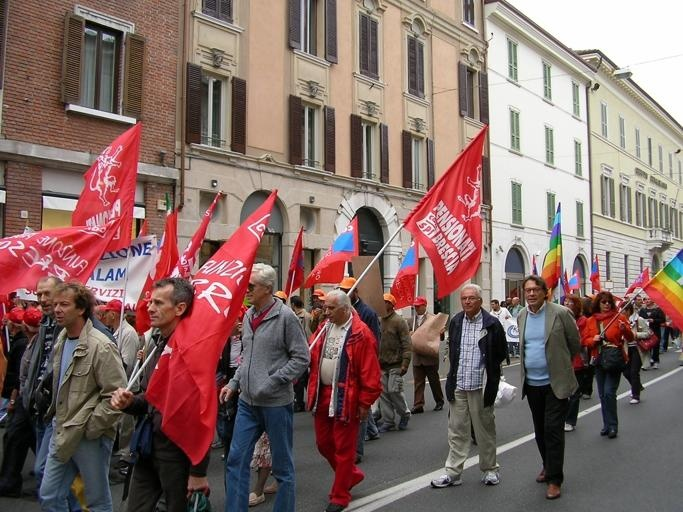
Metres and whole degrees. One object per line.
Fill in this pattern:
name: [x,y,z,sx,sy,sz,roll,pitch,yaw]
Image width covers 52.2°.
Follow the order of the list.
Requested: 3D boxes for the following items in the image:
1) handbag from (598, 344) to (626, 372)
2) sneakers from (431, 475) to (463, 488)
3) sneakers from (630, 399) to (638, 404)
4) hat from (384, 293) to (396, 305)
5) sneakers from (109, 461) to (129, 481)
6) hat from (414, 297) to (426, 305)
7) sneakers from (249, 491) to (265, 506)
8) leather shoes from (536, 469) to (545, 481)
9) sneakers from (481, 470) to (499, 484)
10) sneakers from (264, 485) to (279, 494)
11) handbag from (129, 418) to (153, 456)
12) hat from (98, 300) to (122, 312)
handbag: [4.647,1.762,11.989,0.299,0.352,0.184,14,-28,-12]
sneakers: [1.362,2.954,9.087,0.387,0.190,0.164,5,-10,-14]
sneakers: [6.055,3.034,14.469,0.218,0.102,0.077,16,-22,-39]
hat: [0.874,0.794,12.720,0.191,0.125,0.276,34,5,24]
sneakers: [-2.969,2.870,9.274,0.220,0.264,0.301,2,-6,-17]
hat: [1.598,0.898,14.050,0.159,0.135,0.238,-1,-10,35]
sneakers: [-1.046,2.987,8.556,0.124,0.108,0.262,-11,-18,24]
leather shoes: [2.641,2.924,9.214,0.073,0.169,0.229,-5,-12,25]
sneakers: [1.960,2.939,9.185,0.174,0.153,0.069,-3,-16,26]
sneakers: [-0.905,3.006,8.954,0.160,0.133,0.067,11,-23,-13]
handbag: [-1.930,1.755,6.712,0.235,0.425,0.075,-2,-6,25]
hat: [-3.280,0.710,9.792,0.340,0.170,0.248,-1,-4,9]
